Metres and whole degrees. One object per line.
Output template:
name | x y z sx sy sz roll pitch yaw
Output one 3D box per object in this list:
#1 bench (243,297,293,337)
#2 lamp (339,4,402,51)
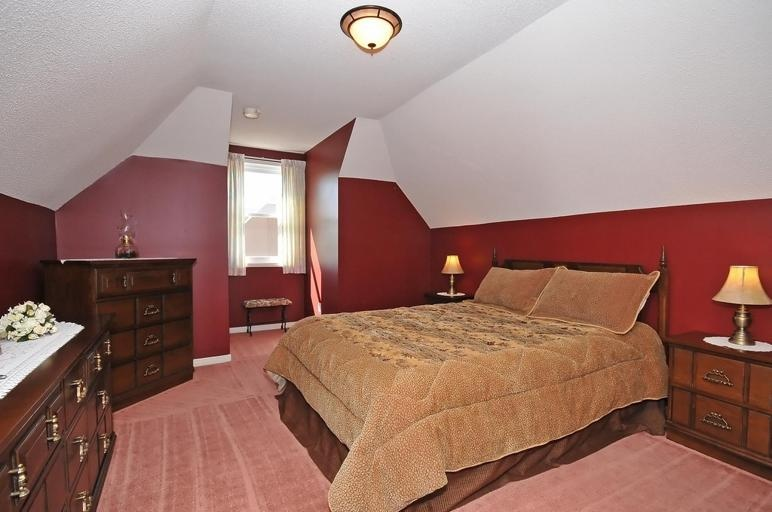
bench | -1.787 0.761 7.404 0.830 0.557 0.481 0 4 -17
lamp | -0.127 -1.941 4.202 0.544 0.301 0.312 0 4 1
